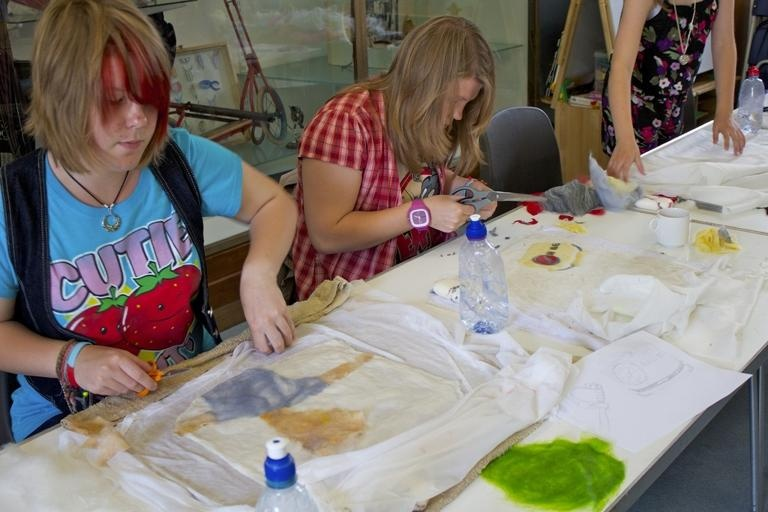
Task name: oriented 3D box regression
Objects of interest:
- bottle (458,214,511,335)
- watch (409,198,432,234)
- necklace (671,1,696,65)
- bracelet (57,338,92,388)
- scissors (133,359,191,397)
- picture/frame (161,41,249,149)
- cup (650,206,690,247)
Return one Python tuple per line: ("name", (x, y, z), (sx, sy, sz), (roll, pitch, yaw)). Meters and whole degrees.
("bottle", (0.266, 0.075, 1.537), (0.134, 0.214, 0.149), (1, 22, 12))
("watch", (0.115, -0.132, 1.861), (0.063, 0.104, 0.087), (-15, 12, -3))
("necklace", (1.324, -0.981, 2.552), (0.148, 0.258, 0.028), (-14, 23, -25))
("bracelet", (-0.737, 0.250, 1.346), (0.044, 0.086, 0.093), (0, 46, -5))
("scissors", (-0.546, 0.281, 1.397), (0.061, 0.056, 0.143), (10, 26, 32))
("picture/frame", (-0.929, -0.880, 3.038), (0.093, 0.430, 0.418), (10, 12, 42))
("cup", (0.933, -0.095, 1.912), (0.122, 0.118, 0.099), (-6, 22, 2))
